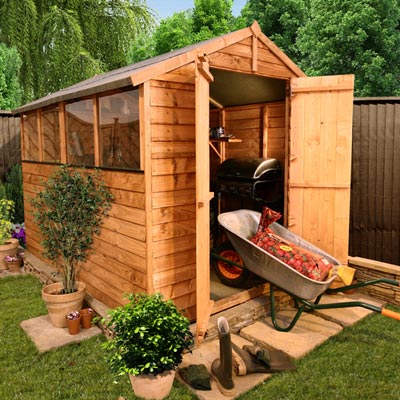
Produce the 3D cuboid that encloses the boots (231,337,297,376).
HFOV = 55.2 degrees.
[{"bbox_3d":[0.531,1.361,3.281,0.412,0.117,0.225,-2,16,-9],"label":"boots"}]

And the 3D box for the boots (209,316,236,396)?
[{"bbox_3d":[0.175,1.179,3.012,0.165,0.633,0.330,-2,11,-3],"label":"boots"}]

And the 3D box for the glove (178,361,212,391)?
[{"bbox_3d":[-0.004,1.423,3.091,0.305,0.294,0.102,4,8,20],"label":"glove"}]

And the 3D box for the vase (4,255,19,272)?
[{"bbox_3d":[-2.947,1.008,6.029,0.246,0.238,0.156,5,13,33],"label":"vase"}]

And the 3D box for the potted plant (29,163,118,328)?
[{"bbox_3d":[-1.587,0.606,4.555,1.085,1.591,0.636,14,-2,-3],"label":"potted plant"}]

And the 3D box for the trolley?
[{"bbox_3d":[1.164,0.814,4.283,1.776,0.736,0.741,23,17,20],"label":"trolley"}]
